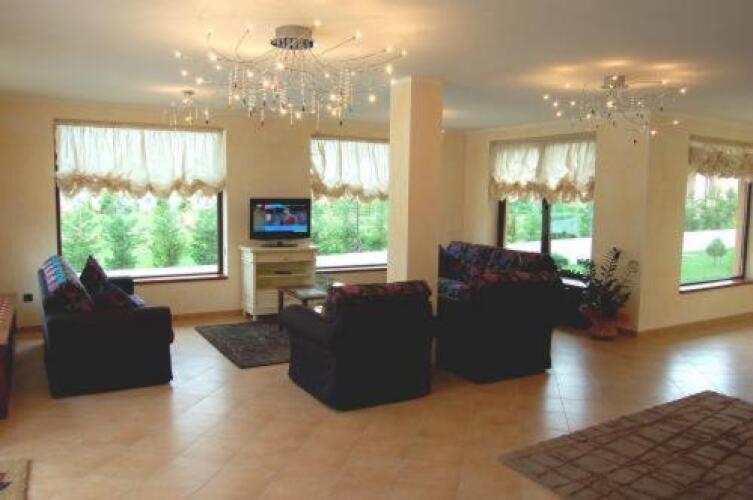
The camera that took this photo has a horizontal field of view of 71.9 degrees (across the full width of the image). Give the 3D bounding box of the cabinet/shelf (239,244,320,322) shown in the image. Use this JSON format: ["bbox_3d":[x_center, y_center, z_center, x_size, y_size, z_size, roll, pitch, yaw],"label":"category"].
[{"bbox_3d":[-1.532,0.482,8.302,1.107,1.021,0.476,-4,8,-24],"label":"cabinet/shelf"}]

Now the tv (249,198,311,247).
[{"bbox_3d":[-1.600,-0.459,8.304,0.847,0.590,0.221,-1,4,-23],"label":"tv"}]

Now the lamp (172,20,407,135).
[{"bbox_3d":[-0.892,-2.042,5.690,2.201,0.764,2.232,15,28,30],"label":"lamp"}]

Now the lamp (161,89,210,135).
[{"bbox_3d":[-2.816,-2.125,7.900,0.436,0.364,0.418,-9,24,21],"label":"lamp"}]

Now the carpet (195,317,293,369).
[{"bbox_3d":[-1.766,1.250,7.073,1.136,0.136,1.855,-5,15,-26],"label":"carpet"}]

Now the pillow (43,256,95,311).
[{"bbox_3d":[-3.631,0.311,5.978,0.423,0.292,1.345,2,14,-38],"label":"pillow"}]

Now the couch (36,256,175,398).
[{"bbox_3d":[-3.427,0.803,6.434,1.334,1.024,2.255,2,8,-34],"label":"couch"}]

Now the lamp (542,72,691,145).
[{"bbox_3d":[3.095,-1.961,6.799,1.367,0.564,1.359,1,14,3],"label":"lamp"}]

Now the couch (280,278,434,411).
[{"bbox_3d":[-0.254,0.821,5.812,1.511,1.248,1.333,-3,6,-29],"label":"couch"}]
